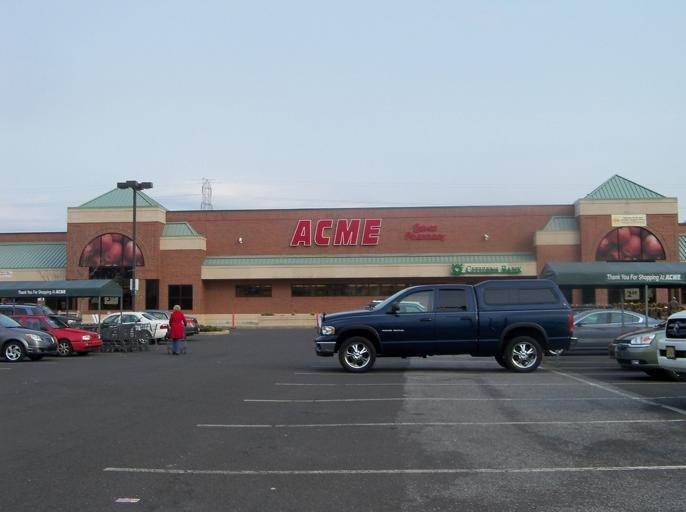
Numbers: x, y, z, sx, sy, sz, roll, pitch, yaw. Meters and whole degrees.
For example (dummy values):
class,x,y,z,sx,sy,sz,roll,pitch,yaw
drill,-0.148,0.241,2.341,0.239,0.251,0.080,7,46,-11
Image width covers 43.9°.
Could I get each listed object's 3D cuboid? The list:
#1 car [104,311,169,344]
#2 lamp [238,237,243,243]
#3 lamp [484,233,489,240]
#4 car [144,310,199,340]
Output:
class,x,y,z,sx,sy,sz,roll,pitch,yaw
car,-8.593,3.040,35.218,3.080,0.750,1.545,2,0,12
lamp,-7.014,-1.115,58.411,0.255,0.360,0.280,-2,1,-44
lamp,9.506,-1.328,56.309,0.421,0.337,0.089,-5,-17,2
car,-8.034,2.932,36.629,3.573,0.939,1.319,2,-5,-6
